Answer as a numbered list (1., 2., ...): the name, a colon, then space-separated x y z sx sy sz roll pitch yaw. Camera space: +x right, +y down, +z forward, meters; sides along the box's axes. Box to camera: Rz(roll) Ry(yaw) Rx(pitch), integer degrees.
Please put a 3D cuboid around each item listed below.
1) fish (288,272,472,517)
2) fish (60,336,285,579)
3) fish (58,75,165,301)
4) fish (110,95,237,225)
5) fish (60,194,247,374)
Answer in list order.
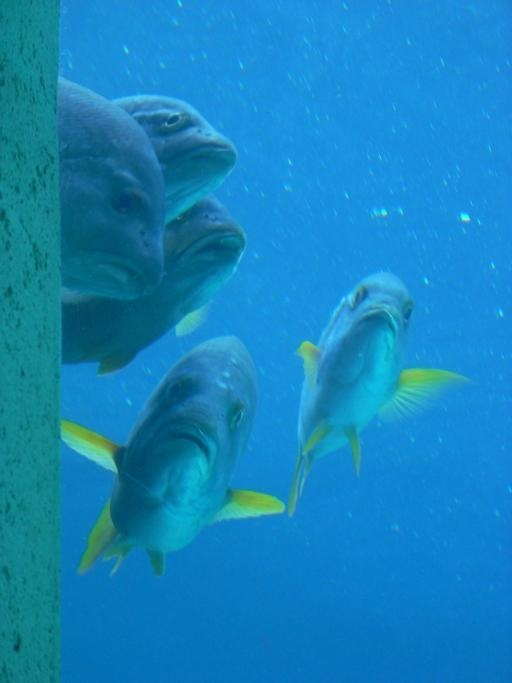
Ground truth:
1. fish: 0.488 0.025 4.286 0.684 1.000 0.665 17 39 -3
2. fish: -0.293 0.450 3.681 0.540 0.918 0.473 25 37 -4
3. fish: -0.470 -0.452 3.140 0.285 0.683 0.222 -3 18 -36
4. fish: -0.276 -0.679 3.582 0.434 0.361 0.281 -3 5 7
5. fish: -0.350 -0.164 3.559 0.754 0.439 0.391 -30 22 -35
